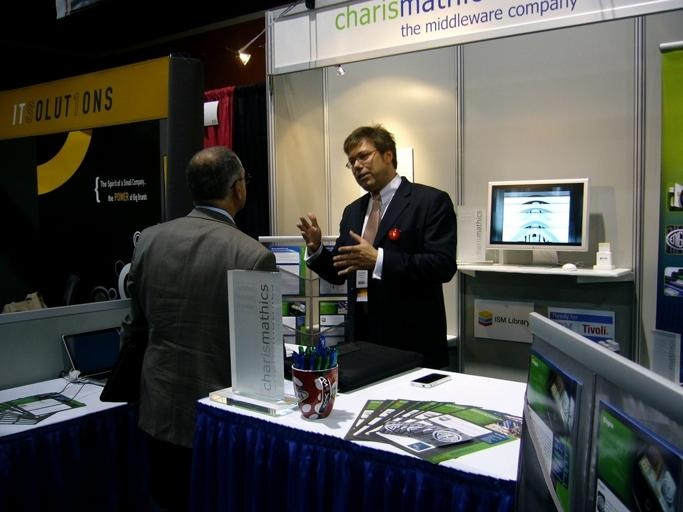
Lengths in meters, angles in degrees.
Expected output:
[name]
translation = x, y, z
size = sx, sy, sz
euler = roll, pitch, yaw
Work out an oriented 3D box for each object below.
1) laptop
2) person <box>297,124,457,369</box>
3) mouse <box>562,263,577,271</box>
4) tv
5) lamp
[laptop]
translation = -1.186, 0.457, 2.561
size = 0.224, 0.182, 0.262
euler = 4, 4, 33
[person]
translation = 0.214, -0.015, 2.774
size = 0.739, 1.258, 0.632
euler = 2, 13, 18
[mouse]
translation = 1.548, 0.076, 3.626
size = 0.057, 0.031, 0.064
euler = 4, 19, 13
[tv]
translation = 1.405, -0.243, 3.778
size = 0.552, 0.548, 0.188
euler = 1, -1, 29
[lamp]
translation = -0.668, -1.932, 4.757
size = 0.444, 0.380, 2.280
euler = -6, 15, -13
